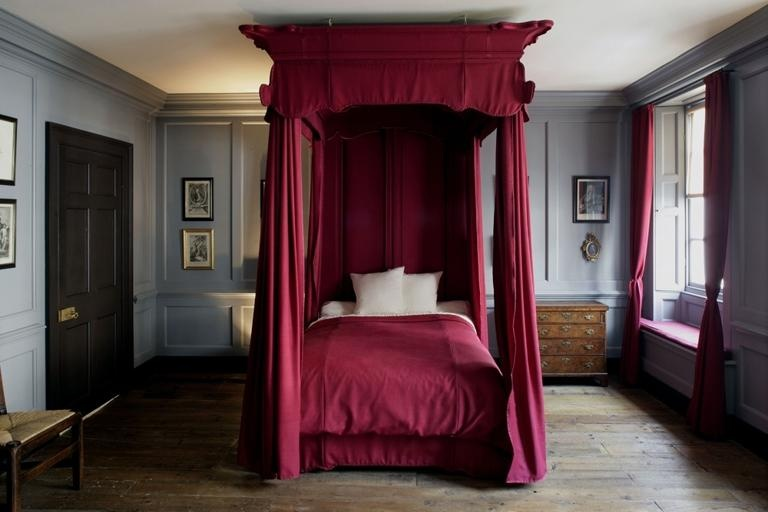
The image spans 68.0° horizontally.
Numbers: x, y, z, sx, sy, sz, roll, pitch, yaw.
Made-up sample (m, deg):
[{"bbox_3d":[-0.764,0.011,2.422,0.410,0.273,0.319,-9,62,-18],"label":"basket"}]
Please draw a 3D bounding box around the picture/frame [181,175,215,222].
[{"bbox_3d":[-2.586,-0.814,7.894,0.615,0.864,0.088,0,0,-3],"label":"picture/frame"}]

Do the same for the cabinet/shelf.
[{"bbox_3d":[2.444,1.228,7.516,1.073,0.997,0.655,-5,-20,31],"label":"cabinet/shelf"}]

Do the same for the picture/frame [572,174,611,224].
[{"bbox_3d":[2.803,-0.799,7.704,0.628,0.810,0.063,0,-2,-2],"label":"picture/frame"}]

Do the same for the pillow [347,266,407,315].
[{"bbox_3d":[-0.049,0.472,7.059,0.552,0.532,0.169,-4,-21,-1],"label":"pillow"}]

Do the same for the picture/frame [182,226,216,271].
[{"bbox_3d":[-2.564,-0.101,7.898,0.580,0.767,0.080,0,-3,-4],"label":"picture/frame"}]
